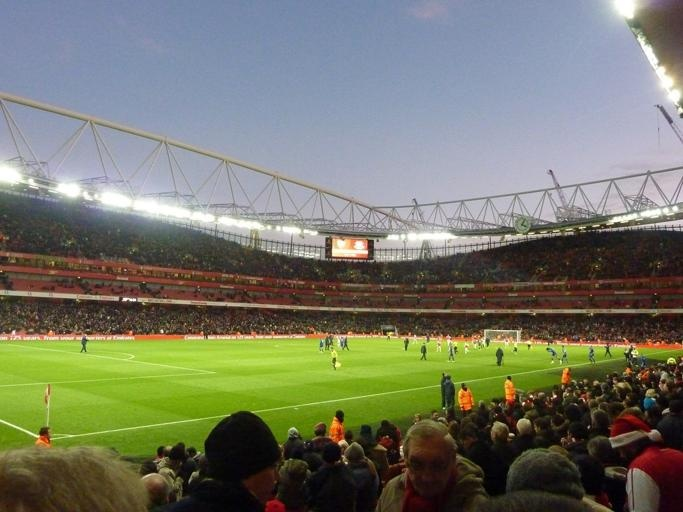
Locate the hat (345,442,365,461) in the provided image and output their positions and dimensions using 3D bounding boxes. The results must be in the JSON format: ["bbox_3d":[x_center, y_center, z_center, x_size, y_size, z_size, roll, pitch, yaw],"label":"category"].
[{"bbox_3d":[0.256,3.934,11.765,0.351,0.317,0.248,1,-4,-5],"label":"hat"}]

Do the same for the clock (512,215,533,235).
[{"bbox_3d":[21.163,-3.631,68.240,1.961,2.202,2.407,0,-4,16],"label":"clock"}]

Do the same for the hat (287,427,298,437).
[{"bbox_3d":[-1.187,4.389,14.628,0.260,0.232,0.570,1,-4,-3],"label":"hat"}]

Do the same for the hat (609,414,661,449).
[{"bbox_3d":[5.323,3.134,10.577,0.725,0.675,0.553,-11,-16,44],"label":"hat"}]
